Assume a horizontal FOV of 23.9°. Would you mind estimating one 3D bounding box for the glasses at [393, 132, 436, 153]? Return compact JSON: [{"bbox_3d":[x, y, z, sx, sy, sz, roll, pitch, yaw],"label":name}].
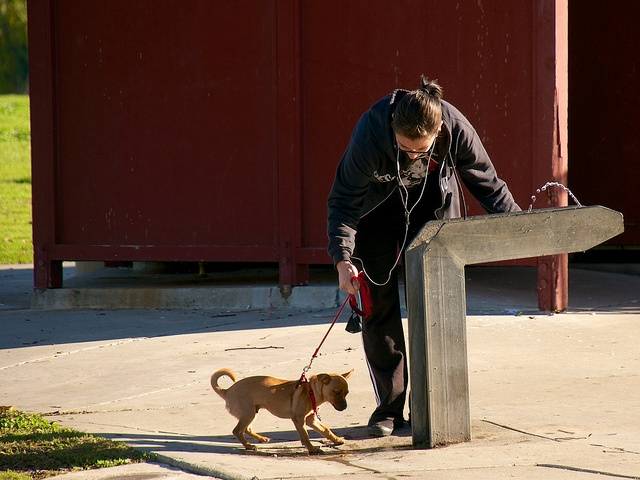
[{"bbox_3d":[0.982,-0.999,15.542,0.401,0.209,0.232,0,-5,0],"label":"glasses"}]
